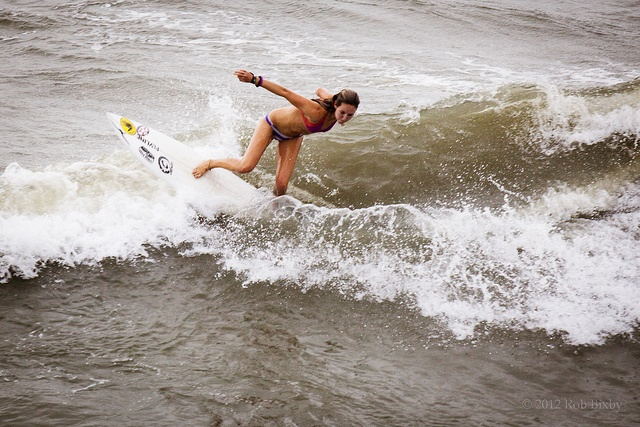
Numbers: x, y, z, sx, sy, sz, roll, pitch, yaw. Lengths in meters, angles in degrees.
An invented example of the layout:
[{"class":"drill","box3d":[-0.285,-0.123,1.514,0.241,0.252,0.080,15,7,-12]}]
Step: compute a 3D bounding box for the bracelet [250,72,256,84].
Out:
[{"class":"bracelet","box3d":[-1.091,-2.203,13.480,0.106,0.123,0.122,4,6,-20]}]
